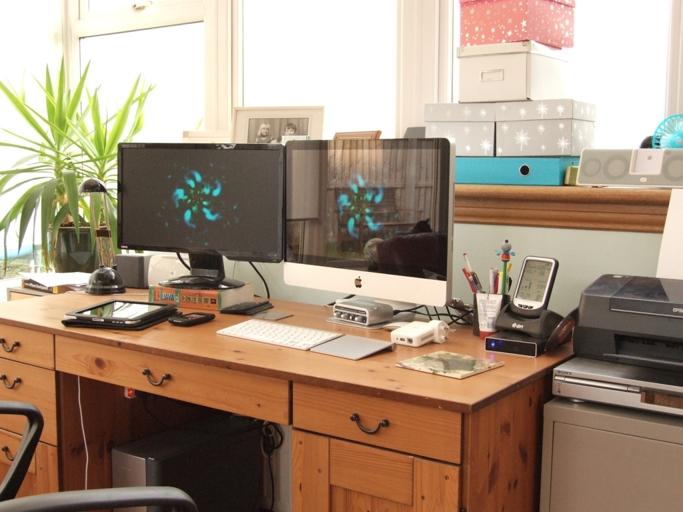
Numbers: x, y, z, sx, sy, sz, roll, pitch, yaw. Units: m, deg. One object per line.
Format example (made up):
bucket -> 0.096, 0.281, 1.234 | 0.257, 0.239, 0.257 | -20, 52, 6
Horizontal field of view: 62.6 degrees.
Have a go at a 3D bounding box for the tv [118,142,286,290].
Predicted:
tv -> -0.552, -0.156, 2.239 | 0.731, 0.560, 0.214 | 4, 7, 16

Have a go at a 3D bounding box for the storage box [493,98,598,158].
storage box -> 0.769, -0.468, 2.081 | 0.332, 0.197, 0.336 | -9, 15, -32

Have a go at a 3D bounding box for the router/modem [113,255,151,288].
router/modem -> -0.955, 0.077, 2.580 | 0.165, 0.128, 0.170 | -3, -6, -7

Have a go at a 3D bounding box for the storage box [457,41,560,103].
storage box -> 0.647, -0.679, 2.134 | 0.372, 0.192, 0.377 | -7, 14, -25

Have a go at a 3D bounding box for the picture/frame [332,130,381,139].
picture/frame -> 0.065, -0.480, 2.231 | 0.160, 0.039, 0.067 | 1, 23, 26

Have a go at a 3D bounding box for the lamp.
lamp -> -1.043, -0.082, 2.467 | 0.171, 0.482, 0.189 | -3, 3, 5

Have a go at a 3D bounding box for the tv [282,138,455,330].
tv -> 0.114, -0.137, 2.033 | 0.638, 0.556, 0.224 | 5, 6, 32
